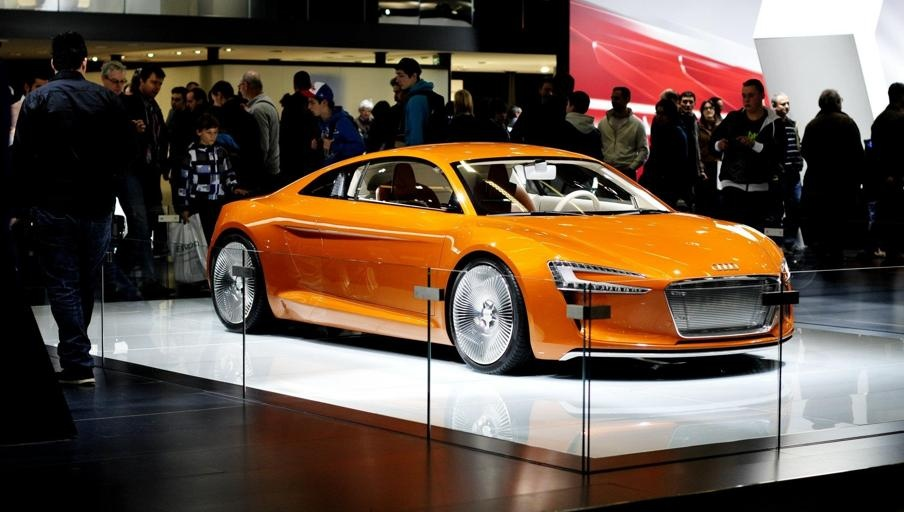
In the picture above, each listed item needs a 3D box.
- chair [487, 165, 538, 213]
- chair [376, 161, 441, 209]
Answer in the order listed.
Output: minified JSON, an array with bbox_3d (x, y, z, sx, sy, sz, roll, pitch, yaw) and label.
[{"bbox_3d":[0.616,-0.695,7.164,0.350,0.643,0.168,-9,-14,-33],"label":"chair"},{"bbox_3d":[-0.477,-0.713,7.386,0.550,0.492,0.548,11,50,2],"label":"chair"}]
